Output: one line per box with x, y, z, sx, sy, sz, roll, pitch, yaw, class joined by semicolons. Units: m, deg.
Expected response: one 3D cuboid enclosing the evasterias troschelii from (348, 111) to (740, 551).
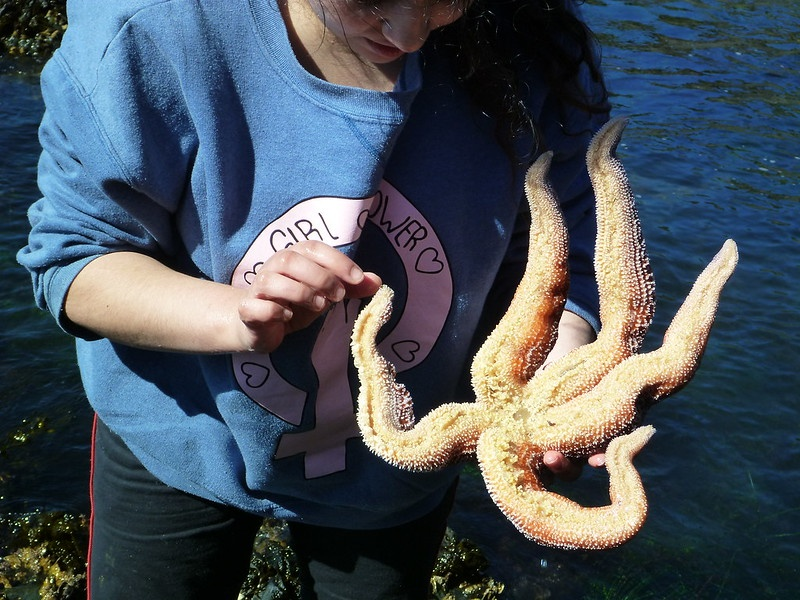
0.480;0.054;2.268;1.114;0.253;1.139;7;87;7;evasterias troschelii
